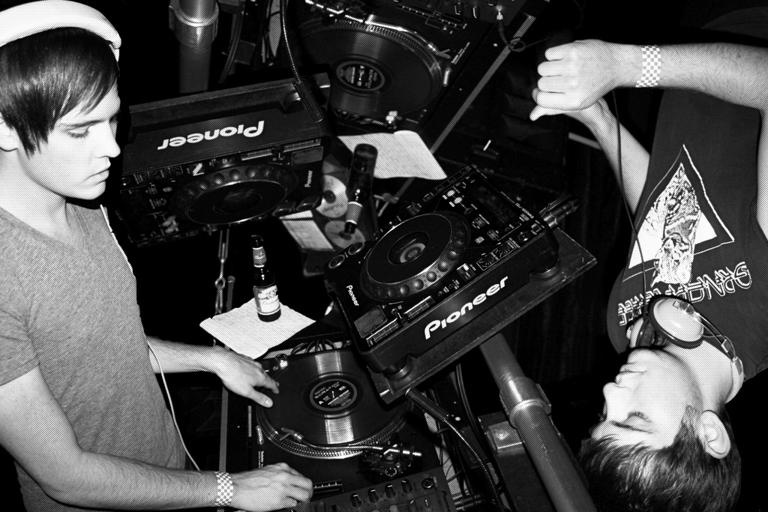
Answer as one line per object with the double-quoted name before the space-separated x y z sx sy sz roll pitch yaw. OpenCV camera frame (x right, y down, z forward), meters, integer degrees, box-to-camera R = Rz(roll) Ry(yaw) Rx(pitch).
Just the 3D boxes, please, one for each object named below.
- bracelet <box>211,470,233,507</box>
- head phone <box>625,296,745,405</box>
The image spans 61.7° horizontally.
"bracelet" -0.489 0.711 1.974 0.068 0.086 0.089 -1 43 -18
"head phone" 1.002 0.319 2.007 0.165 0.472 0.355 -45 73 -2
